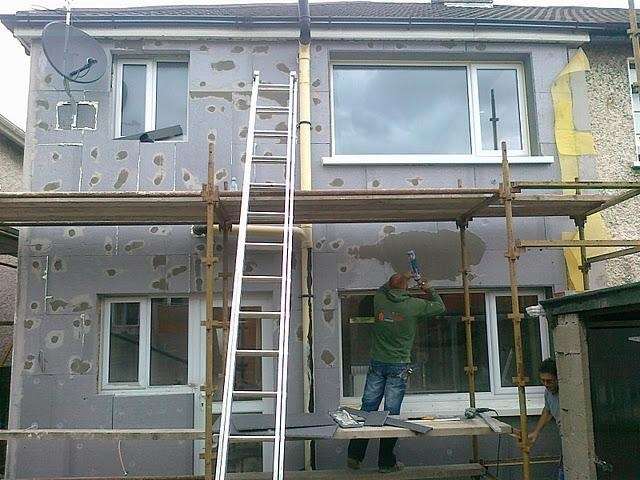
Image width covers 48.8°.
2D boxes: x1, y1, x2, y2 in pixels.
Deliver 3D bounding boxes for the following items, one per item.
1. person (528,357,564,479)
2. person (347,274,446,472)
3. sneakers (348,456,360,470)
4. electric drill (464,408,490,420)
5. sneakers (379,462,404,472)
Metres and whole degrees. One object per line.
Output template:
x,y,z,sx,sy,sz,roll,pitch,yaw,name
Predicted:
2.387,1.721,7.538,0.339,0.885,0.757,-5,-15,14,person
0.899,1.516,8.222,1.213,2.253,0.807,-7,-17,20,person
0.391,2.552,8.022,0.156,0.137,0.089,9,-6,-20,sneakers
1.764,1.931,7.886,0.179,0.080,0.175,-3,-6,13,electric drill
0.818,2.569,7.959,0.273,0.098,0.102,-2,1,-39,sneakers
